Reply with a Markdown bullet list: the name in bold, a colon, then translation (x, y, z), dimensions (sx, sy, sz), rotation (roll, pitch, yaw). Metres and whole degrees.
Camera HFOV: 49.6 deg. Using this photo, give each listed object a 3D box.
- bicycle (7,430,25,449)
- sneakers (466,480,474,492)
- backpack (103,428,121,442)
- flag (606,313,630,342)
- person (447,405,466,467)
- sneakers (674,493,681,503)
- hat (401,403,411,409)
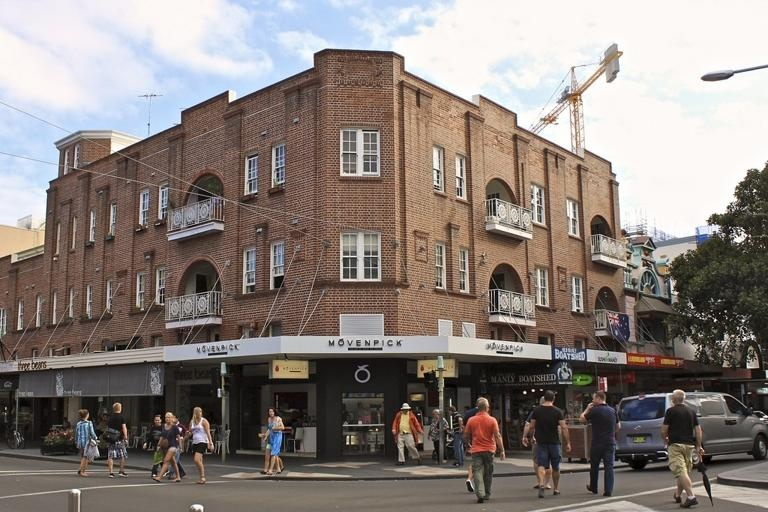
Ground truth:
- **bicycle**: translation (-19.573, 9.756, 44.232), dimensions (0.476, 1.129, 2.030), rotation (7, -20, -30)
- **sneakers**: translation (2.779, 7.365, 26.493), dimensions (0.192, 0.450, 0.178), rotation (-8, 22, 17)
- **backpack**: translation (-10.207, 6.742, 31.219), dimensions (0.621, 0.410, 0.418), rotation (1, 24, 4)
- **flag**: translation (13.289, 4.001, 46.880), dimensions (1.779, 1.686, 0.291), rotation (10, -21, -35)
- **person**: translation (3.054, 7.403, 33.971), dimensions (0.532, 2.367, 1.065), rotation (-3, -17, 2)
- **sneakers**: translation (8.542, 6.996, 24.052), dimensions (0.192, 0.294, 0.288), rotation (-9, -18, 18)
- **hat**: translation (0.975, 6.239, 34.360), dimensions (0.394, 0.177, 0.382), rotation (8, -10, -41)
